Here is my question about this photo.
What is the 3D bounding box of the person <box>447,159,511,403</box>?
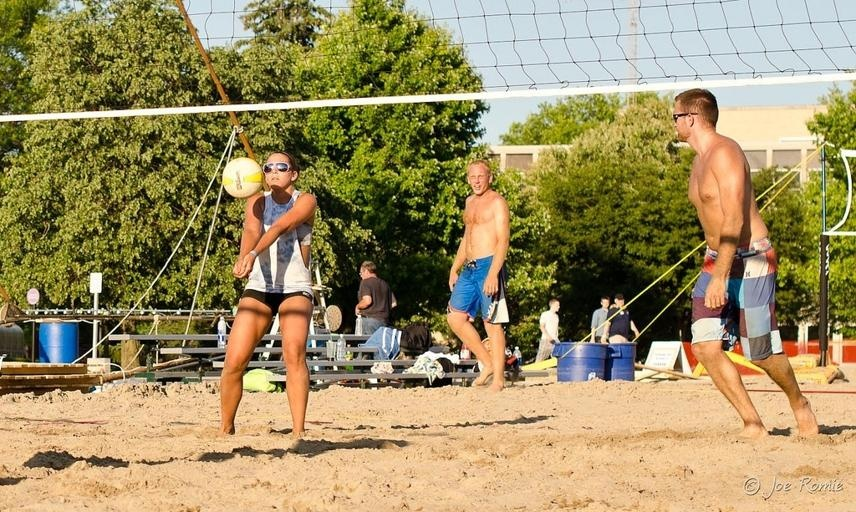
[{"bbox_3d":[0.925,0.349,22.113,1.009,4.272,1.175,2,-7,-22],"label":"person"}]

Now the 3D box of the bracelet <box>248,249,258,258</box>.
[{"bbox_3d":[-2.728,-0.031,18.539,0.128,0.111,0.063,0,-6,-5],"label":"bracelet"}]

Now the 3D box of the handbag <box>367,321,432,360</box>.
[{"bbox_3d":[-0.621,1.806,25.093,0.941,0.460,0.812,0,2,16],"label":"handbag"}]

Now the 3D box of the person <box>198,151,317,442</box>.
[{"bbox_3d":[-2.507,0.600,18.895,1.347,4.481,0.870,1,-6,-7],"label":"person"}]

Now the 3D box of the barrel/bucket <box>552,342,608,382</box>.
[{"bbox_3d":[3.328,2.271,26.244,0.939,0.723,0.914,0,-7,0],"label":"barrel/bucket"}]

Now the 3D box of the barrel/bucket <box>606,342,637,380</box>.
[{"bbox_3d":[4.338,2.386,26.996,0.796,0.793,0.752,0,-5,0],"label":"barrel/bucket"}]
